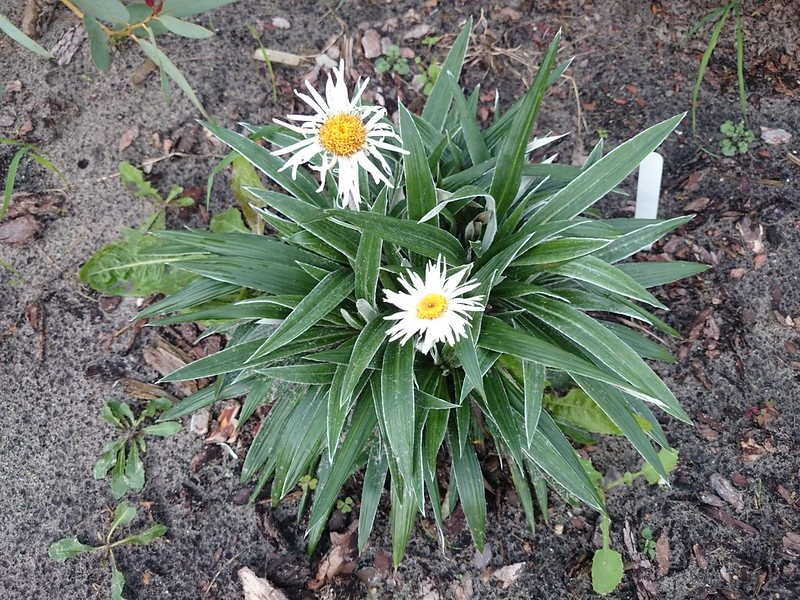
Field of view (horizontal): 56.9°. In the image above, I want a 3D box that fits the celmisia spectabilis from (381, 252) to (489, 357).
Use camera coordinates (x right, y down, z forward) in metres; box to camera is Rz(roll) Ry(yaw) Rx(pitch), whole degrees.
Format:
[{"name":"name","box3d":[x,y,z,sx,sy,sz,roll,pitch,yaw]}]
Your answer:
[{"name":"celmisia spectabilis","box3d":[0.114,0.031,2.587,0.365,0.121,0.435,4,48,19]}]
